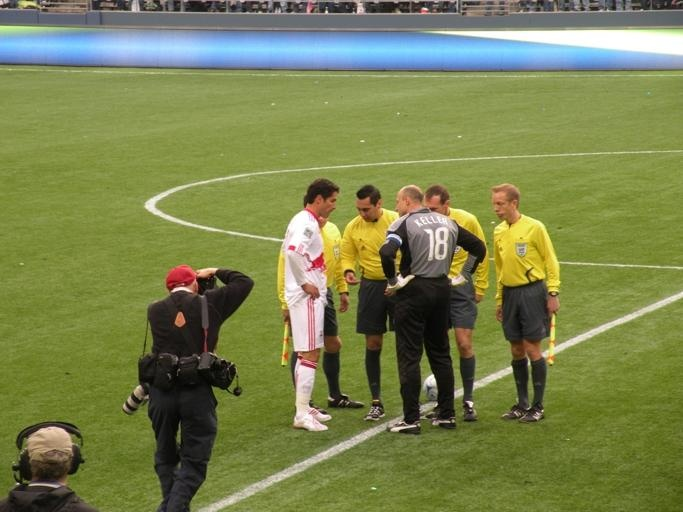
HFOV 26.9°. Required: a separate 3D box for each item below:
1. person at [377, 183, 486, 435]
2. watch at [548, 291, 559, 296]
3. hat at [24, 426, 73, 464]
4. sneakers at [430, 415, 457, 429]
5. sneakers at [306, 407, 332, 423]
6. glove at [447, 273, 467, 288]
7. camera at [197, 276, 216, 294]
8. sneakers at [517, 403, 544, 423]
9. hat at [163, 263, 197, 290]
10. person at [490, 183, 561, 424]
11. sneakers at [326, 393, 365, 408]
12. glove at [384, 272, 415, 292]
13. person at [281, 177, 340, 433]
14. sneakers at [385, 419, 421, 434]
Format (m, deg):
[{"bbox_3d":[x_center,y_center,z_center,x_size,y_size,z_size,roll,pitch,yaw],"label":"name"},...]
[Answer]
[{"bbox_3d":[1.295,0.961,21.247,1.415,3.316,0.706,-4,10,-8],"label":"person"},{"bbox_3d":[3.188,0.567,21.535,0.116,0.051,0.091,0,2,10],"label":"watch"},{"bbox_3d":[-3.670,2.367,17.974,0.497,0.381,0.456,0,-2,-12],"label":"hat"},{"bbox_3d":[1.535,2.505,21.381,0.386,0.131,0.154,4,4,23],"label":"sneakers"},{"bbox_3d":[-0.322,2.417,21.623,0.389,0.132,0.165,24,15,-2],"label":"sneakers"},{"bbox_3d":[1.753,0.360,21.600,0.149,0.127,0.351,46,13,18],"label":"glove"},{"bbox_3d":[-1.894,0.407,19.954,0.284,0.282,0.165,2,4,-11],"label":"camera"},{"bbox_3d":[2.858,2.368,21.412,0.379,0.237,0.214,-1,9,6],"label":"sneakers"},{"bbox_3d":[-2.195,0.283,19.798,0.325,0.227,0.409,0,20,27],"label":"hat"},{"bbox_3d":[2.712,0.699,21.500,0.966,3.517,0.926,2,11,23],"label":"person"},{"bbox_3d":[0.059,2.266,22.119,0.593,0.196,0.203,0,-3,0],"label":"sneakers"},{"bbox_3d":[0.856,0.372,21.092,0.524,0.204,0.174,-34,14,-20],"label":"glove"},{"bbox_3d":[-0.473,0.737,21.451,0.733,3.753,0.879,0,10,14],"label":"person"},{"bbox_3d":[0.929,2.557,21.317,0.569,0.195,0.189,2,1,14],"label":"sneakers"}]
